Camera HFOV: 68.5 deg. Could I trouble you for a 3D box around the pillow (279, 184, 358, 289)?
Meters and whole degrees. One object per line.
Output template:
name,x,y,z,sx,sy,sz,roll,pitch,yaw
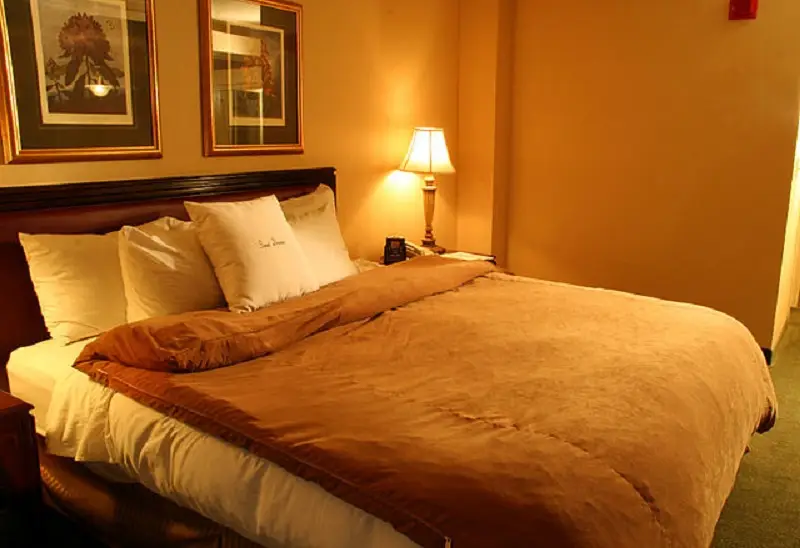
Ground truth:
pillow,-0.581,-0.166,3.534,0.183,0.556,0.462,-35,-7,34

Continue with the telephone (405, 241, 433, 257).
telephone,0.123,-0.171,4.128,0.153,0.047,0.120,18,13,12

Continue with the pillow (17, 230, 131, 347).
pillow,-1.501,0.079,2.656,0.278,0.570,0.465,-14,-9,29
